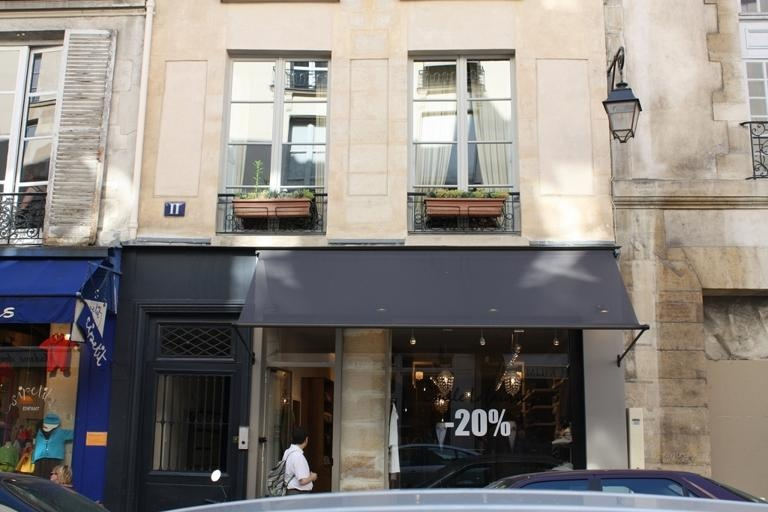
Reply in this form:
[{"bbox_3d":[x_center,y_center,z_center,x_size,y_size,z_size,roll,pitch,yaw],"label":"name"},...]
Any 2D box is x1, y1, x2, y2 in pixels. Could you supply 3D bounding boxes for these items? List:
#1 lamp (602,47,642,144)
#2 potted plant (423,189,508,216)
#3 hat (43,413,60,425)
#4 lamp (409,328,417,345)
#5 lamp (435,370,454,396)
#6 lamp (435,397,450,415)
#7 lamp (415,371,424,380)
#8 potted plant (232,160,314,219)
[{"bbox_3d":[3.893,-2.756,15.178,0.570,1.766,0.929,-2,-8,15],"label":"lamp"},{"bbox_3d":[1.337,-0.898,15.325,1.333,0.425,0.271,0,-7,-4],"label":"potted plant"},{"bbox_3d":[-5.512,2.711,15.354,0.246,0.182,0.175,6,-7,-4],"label":"hat"},{"bbox_3d":[0.474,1.338,15.270,0.112,0.247,0.028,0,-7,-1],"label":"lamp"},{"bbox_3d":[0.990,2.076,15.151,0.289,0.362,0.239,4,-2,0],"label":"lamp"},{"bbox_3d":[0.941,2.441,15.040,0.226,0.154,0.202,0,-7,7],"label":"lamp"},{"bbox_3d":[0.602,1.962,15.252,0.188,0.181,0.113,0,-15,3],"label":"lamp"},{"bbox_3d":[-1.864,-1.122,15.736,0.991,0.675,0.610,0,-5,-4],"label":"potted plant"}]
